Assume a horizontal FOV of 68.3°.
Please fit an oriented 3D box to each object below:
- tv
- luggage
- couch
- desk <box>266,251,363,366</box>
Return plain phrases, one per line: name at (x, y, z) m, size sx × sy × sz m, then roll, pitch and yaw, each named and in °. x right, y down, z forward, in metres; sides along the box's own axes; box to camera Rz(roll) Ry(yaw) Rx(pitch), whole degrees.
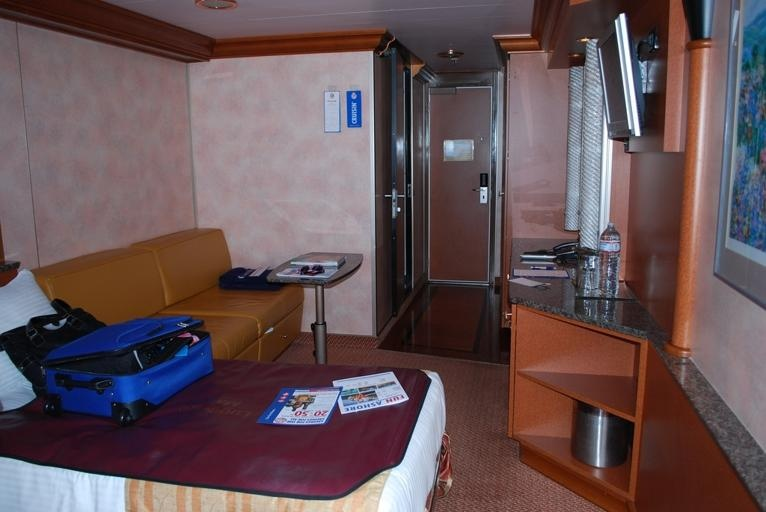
tv at (1.263, -0.924, 2.986) m, size 0.235 × 0.598 × 0.473 m, roll 2°, pitch 13°, yaw 19°
luggage at (-1.234, 0.502, 2.829) m, size 0.579 × 0.348 × 0.679 m, roll 0°, pitch 8°, yaw 17°
couch at (-1.435, 0.413, 4.296) m, size 1.046 × 0.909 × 1.892 m, roll 8°, pitch 14°, yaw 15°
desk at (-0.465, 0.495, 4.188) m, size 0.489 × 0.795 × 0.826 m, roll 2°, pitch 7°, yaw 17°
